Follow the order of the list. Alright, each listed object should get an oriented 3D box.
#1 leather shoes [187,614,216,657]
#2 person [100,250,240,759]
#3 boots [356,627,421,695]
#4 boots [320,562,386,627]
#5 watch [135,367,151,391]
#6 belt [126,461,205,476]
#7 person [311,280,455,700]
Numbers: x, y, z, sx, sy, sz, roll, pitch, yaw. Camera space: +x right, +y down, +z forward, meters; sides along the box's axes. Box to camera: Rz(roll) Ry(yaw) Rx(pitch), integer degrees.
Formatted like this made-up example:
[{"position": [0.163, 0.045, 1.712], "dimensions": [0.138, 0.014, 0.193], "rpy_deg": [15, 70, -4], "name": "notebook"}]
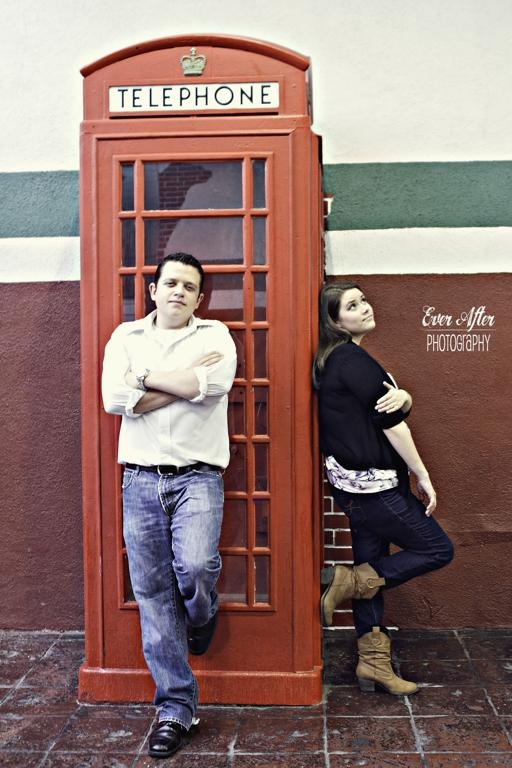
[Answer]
[{"position": [-0.185, 0.922, 3.632], "dimensions": [0.073, 0.081, 0.199], "rpy_deg": [2, 33, 13], "name": "leather shoes"}, {"position": [-0.286, 0.407, 3.559], "dimensions": [0.479, 1.787, 0.398], "rpy_deg": [-4, 4, -15], "name": "person"}, {"position": [0.506, 1.114, 3.868], "dimensions": [0.275, 0.233, 0.100], "rpy_deg": [12, -21, -19], "name": "boots"}, {"position": [0.373, 0.787, 3.807], "dimensions": [0.331, 0.286, 0.165], "rpy_deg": [2, -1, -1], "name": "boots"}, {"position": [-0.408, -0.017, 3.487], "dimensions": [0.049, 0.076, 0.033], "rpy_deg": [-3, 4, -6], "name": "watch"}, {"position": [-0.337, 0.311, 3.565], "dimensions": [0.312, 0.042, 0.072], "rpy_deg": [-2, 4, 10], "name": "belt"}, {"position": [0.499, 0.405, 3.814], "dimensions": [0.511, 1.628, 0.303], "rpy_deg": [-3, 4, 10], "name": "person"}]
